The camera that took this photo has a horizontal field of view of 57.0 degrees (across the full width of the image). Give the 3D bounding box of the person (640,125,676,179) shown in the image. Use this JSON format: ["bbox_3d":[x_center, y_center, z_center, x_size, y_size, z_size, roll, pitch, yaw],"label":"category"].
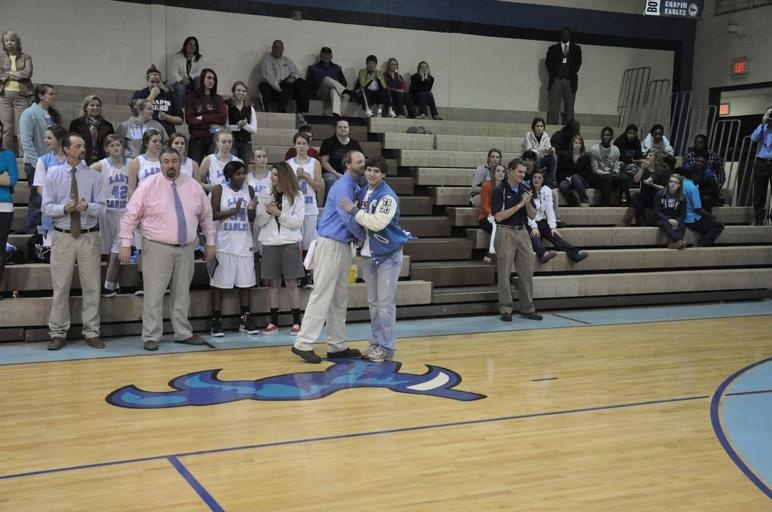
[{"bbox_3d":[5.104,-1.988,13.544,0.679,0.906,0.640,3,10,8],"label":"person"}]

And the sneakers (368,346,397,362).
[{"bbox_3d":[-0.058,1.107,8.007,0.326,0.149,0.135,5,-3,-23],"label":"sneakers"}]

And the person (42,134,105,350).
[{"bbox_3d":[-3.609,-0.168,8.285,0.668,2.493,0.417,-2,7,-24],"label":"person"}]

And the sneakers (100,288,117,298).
[{"bbox_3d":[-3.419,0.457,8.841,0.232,0.092,0.084,-1,5,3],"label":"sneakers"}]

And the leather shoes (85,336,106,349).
[{"bbox_3d":[-3.427,1.015,8.411,0.264,0.114,0.106,-1,3,39],"label":"leather shoes"}]

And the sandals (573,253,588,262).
[{"bbox_3d":[2.954,0.016,10.876,0.209,0.162,0.135,0,6,-8],"label":"sandals"}]

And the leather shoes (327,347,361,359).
[{"bbox_3d":[-0.476,1.089,8.181,0.421,0.165,0.141,-2,0,-9],"label":"leather shoes"}]

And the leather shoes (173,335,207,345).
[{"bbox_3d":[-2.360,1.015,8.592,0.366,0.108,0.147,-3,2,15],"label":"leather shoes"}]

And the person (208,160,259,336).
[{"bbox_3d":[-1.908,-0.099,8.932,0.569,2.177,0.294,-1,6,-12],"label":"person"}]

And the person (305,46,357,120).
[{"bbox_3d":[-1.093,-3.355,13.793,0.956,1.357,0.707,5,8,39],"label":"person"}]

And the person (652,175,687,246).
[{"bbox_3d":[4.706,-0.744,11.785,0.499,1.211,0.453,1,6,9],"label":"person"}]

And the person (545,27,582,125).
[{"bbox_3d":[3.894,-3.974,15.831,0.743,2.048,0.916,2,6,11],"label":"person"}]

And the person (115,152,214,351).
[{"bbox_3d":[-2.546,-0.082,8.339,1.030,2.331,0.343,-1,6,-14],"label":"person"}]

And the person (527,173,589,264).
[{"bbox_3d":[2.404,-0.594,10.777,0.726,0.942,1.565,-7,36,-11],"label":"person"}]

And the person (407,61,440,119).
[{"bbox_3d":[0.744,-3.369,14.290,0.568,1.394,1.716,1,6,4],"label":"person"}]

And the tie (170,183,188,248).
[{"bbox_3d":[-2.402,-0.496,8.291,0.158,0.694,0.092,0,6,-1],"label":"tie"}]

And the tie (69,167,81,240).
[{"bbox_3d":[-3.571,-0.616,8.183,0.119,0.800,0.230,-3,7,-27],"label":"tie"}]

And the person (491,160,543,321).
[{"bbox_3d":[1.798,-0.234,9.906,0.671,2.228,0.438,1,6,8],"label":"person"}]

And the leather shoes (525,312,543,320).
[{"bbox_3d":[2.055,0.839,10.017,0.276,0.118,0.094,1,6,25],"label":"leather shoes"}]

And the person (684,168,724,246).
[{"bbox_3d":[5.411,-0.868,12.190,0.650,1.341,1.001,3,6,25],"label":"person"}]

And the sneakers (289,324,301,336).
[{"bbox_3d":[-1.155,0.934,9.041,0.089,0.088,0.224,-1,-6,2],"label":"sneakers"}]

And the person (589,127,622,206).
[{"bbox_3d":[3.920,-1.603,12.748,0.574,1.377,0.736,2,6,15],"label":"person"}]

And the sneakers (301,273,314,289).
[{"bbox_3d":[-1.024,0.322,9.233,0.204,0.160,0.294,5,-9,-7],"label":"sneakers"}]

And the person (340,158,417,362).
[{"bbox_3d":[-0.085,0.056,7.862,0.680,2.268,0.495,1,6,8],"label":"person"}]

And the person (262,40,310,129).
[{"bbox_3d":[-1.979,-3.314,13.438,0.815,1.502,0.938,-12,13,-39],"label":"person"}]

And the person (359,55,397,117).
[{"bbox_3d":[-0.173,-3.297,13.770,0.707,1.235,1.006,0,6,-9],"label":"person"}]
